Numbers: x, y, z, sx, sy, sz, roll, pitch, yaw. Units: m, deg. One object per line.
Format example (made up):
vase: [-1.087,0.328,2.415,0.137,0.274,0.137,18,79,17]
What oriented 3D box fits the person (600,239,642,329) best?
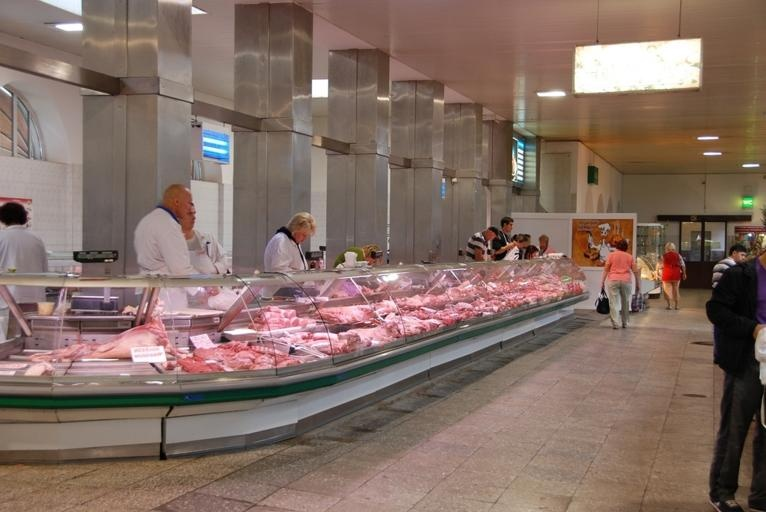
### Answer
person: [4.509,0.525,11.000,0.619,1.666,1.173,5,4,24]

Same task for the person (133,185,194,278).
person: [-1.944,-0.210,5.197,0.565,0.914,0.685,-9,21,-36]

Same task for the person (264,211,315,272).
person: [-1.051,-0.114,6.389,0.626,0.812,0.880,4,10,-6]
